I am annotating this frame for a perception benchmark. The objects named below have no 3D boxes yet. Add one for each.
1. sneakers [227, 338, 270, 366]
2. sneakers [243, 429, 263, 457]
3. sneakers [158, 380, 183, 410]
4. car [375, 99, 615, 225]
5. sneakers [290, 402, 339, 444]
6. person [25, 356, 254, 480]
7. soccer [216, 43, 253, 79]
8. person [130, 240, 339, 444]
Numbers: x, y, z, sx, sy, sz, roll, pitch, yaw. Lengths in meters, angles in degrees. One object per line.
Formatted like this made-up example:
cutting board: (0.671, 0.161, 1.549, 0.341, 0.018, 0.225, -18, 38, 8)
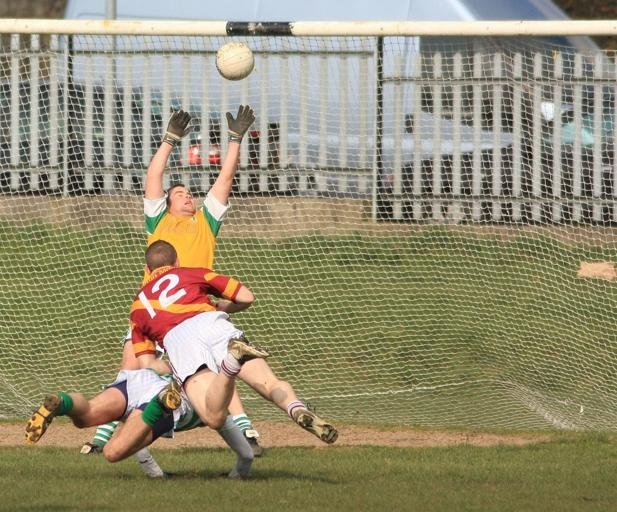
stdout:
sneakers: (-0.493, 0.785, 12.334, 0.309, 0.180, 0.144, 9, 50, 31)
sneakers: (-0.478, 1.674, 13.498, 0.106, 0.310, 0.130, -22, 9, -20)
sneakers: (-1.154, 1.174, 12.386, 0.161, 0.238, 0.086, 18, -35, -24)
car: (2.186, -1.030, 17.005, 2.717, 1.278, 2.184, 2, 4, 3)
sneakers: (0.027, 1.358, 12.597, 0.157, 0.216, 0.513, -19, -26, 23)
person: (-1.416, 1.483, 12.902, 1.248, 1.146, 2.146, 5, -3, 34)
soccer: (-0.697, -1.811, 14.153, 0.325, 0.340, 0.331, -18, 6, -14)
person: (-0.825, 0.733, 12.875, 1.129, 0.961, 2.917, -16, 26, -22)
